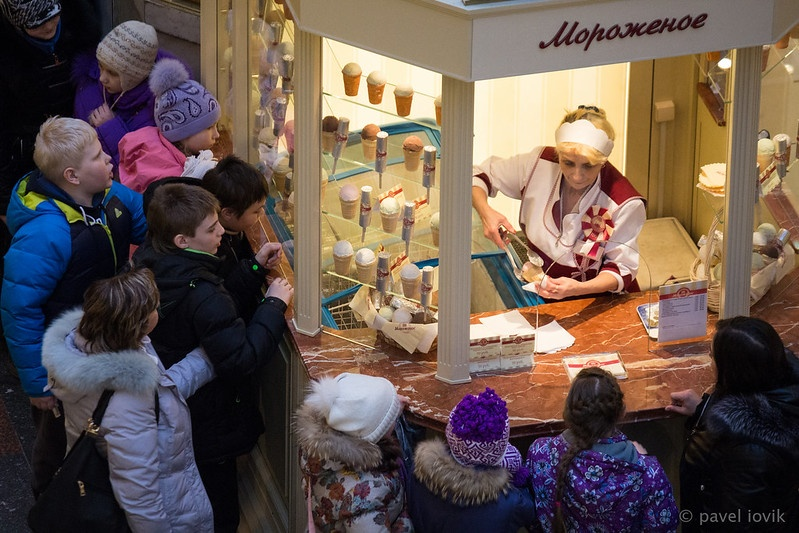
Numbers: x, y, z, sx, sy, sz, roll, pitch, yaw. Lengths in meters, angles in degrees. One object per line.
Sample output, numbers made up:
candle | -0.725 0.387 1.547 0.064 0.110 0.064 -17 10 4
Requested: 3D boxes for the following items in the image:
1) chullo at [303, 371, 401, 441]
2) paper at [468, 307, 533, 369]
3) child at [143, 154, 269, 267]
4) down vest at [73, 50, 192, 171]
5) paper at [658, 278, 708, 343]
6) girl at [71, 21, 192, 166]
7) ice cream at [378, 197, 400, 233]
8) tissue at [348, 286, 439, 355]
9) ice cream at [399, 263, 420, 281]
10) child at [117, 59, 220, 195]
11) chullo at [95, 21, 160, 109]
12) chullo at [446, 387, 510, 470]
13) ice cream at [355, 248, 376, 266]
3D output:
chullo | -0.205 0.579 2.785 0.321 0.241 0.262 -15 49 6
paper | 0.517 0.377 3.414 0.249 0.120 0.280 -3 37 -3
child | -1.073 -0.299 3.649 0.407 0.435 0.352 26 53 -14
down vest | -1.775 -1.028 4.418 0.440 0.655 0.774 -37 -1 -19
paper | 1.518 0.245 3.528 0.264 0.344 0.026 -12 28 -15
girl | -1.877 -1.165 4.540 0.840 1.032 0.592 38 38 17
ice cream | -0.057 -0.285 3.541 0.134 0.222 0.146 -3 23 -6
tissue | -0.022 0.218 3.490 0.368 0.165 0.349 16 26 10
ice cream | 0.051 0.034 3.415 0.080 0.084 0.083 -27 52 -22
child | -1.503 -0.919 4.578 0.744 0.900 0.851 -4 41 -11
chullo | -1.883 -1.457 4.732 0.431 0.506 0.406 -19 52 -27
chullo | 0.322 0.658 2.793 0.280 0.330 0.240 -5 15 13
ice cream | -0.185 -0.043 3.468 0.080 0.087 0.092 -7 61 -6
